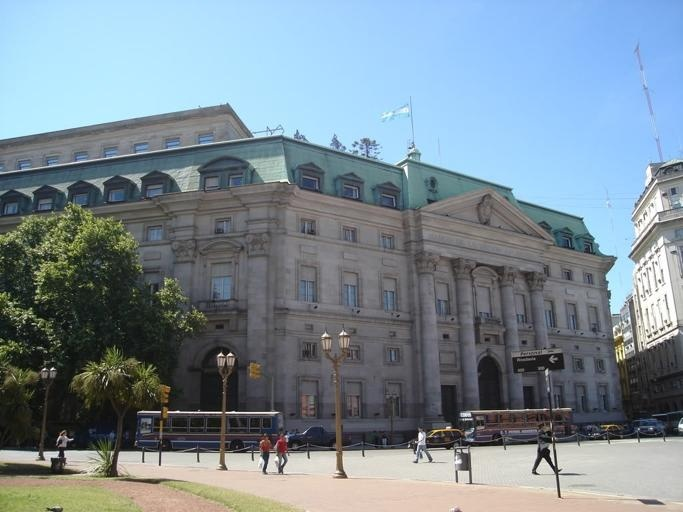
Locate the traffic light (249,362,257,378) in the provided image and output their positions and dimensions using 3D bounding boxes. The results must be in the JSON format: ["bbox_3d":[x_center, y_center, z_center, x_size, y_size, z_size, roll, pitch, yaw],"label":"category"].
[{"bbox_3d":[-6.823,8.859,50.595,0.647,0.975,1.111,2,-18,-8],"label":"traffic light"}]

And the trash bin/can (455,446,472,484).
[{"bbox_3d":[5.684,9.655,29.929,0.763,1.643,0.958,16,-23,-36],"label":"trash bin/can"}]
